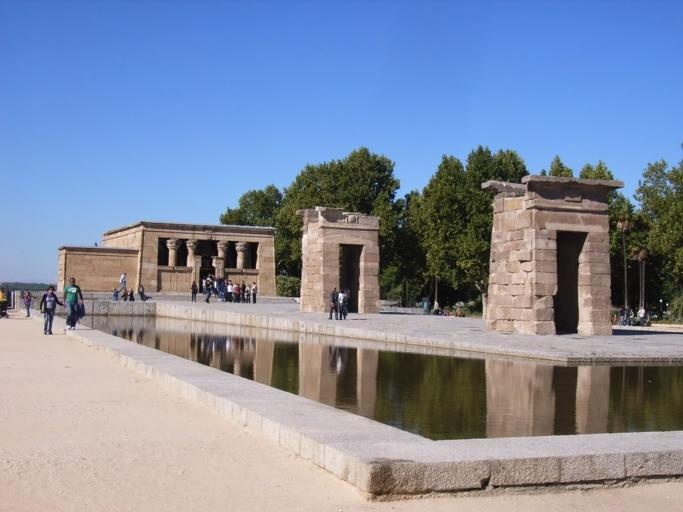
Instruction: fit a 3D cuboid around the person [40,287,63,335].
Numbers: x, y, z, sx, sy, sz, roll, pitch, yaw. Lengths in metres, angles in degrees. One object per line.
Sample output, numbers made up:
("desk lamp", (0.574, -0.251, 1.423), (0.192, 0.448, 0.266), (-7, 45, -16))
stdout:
("person", (-10.182, 1.854, 27.370), (0.576, 1.613, 2.831), (2, -4, -20))
